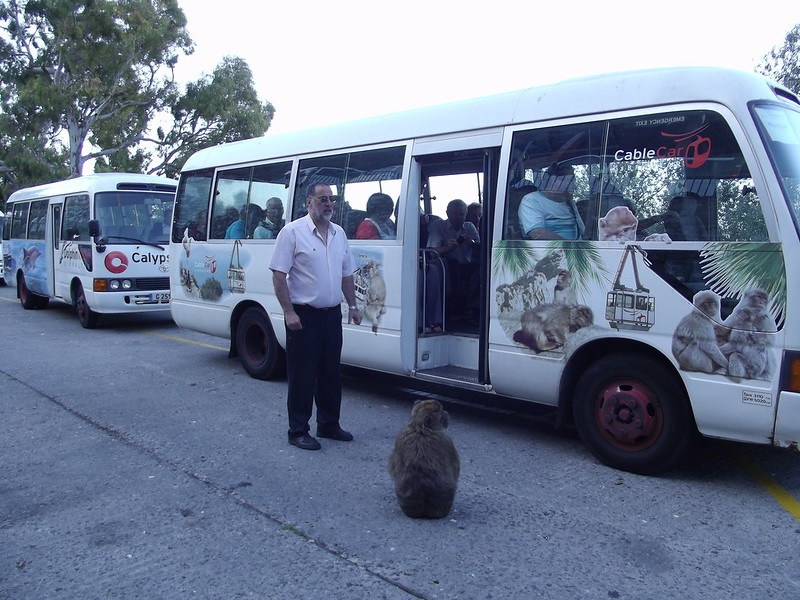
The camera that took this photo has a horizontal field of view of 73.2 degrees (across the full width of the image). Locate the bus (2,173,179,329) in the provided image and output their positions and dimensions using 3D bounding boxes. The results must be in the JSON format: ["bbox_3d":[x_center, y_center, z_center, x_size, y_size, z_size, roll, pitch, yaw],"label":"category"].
[{"bbox_3d":[-8.345,-1.441,14.756,2.802,3.597,10.331,-6,10,-44],"label":"bus"}]

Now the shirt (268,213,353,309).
[{"bbox_3d":[-0.833,-0.400,5.474,0.975,0.929,0.432,2,-3,-44],"label":"shirt"}]

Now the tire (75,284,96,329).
[{"bbox_3d":[-6.988,0.108,12.001,0.253,0.963,0.869,-3,-1,-36],"label":"tire"}]

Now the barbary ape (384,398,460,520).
[{"bbox_3d":[0.185,1.217,4.071,0.529,0.877,0.281,0,6,2],"label":"barbary ape"}]

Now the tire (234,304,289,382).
[{"bbox_3d":[-1.937,0.601,7.622,0.292,0.976,0.879,-4,14,-45],"label":"tire"}]

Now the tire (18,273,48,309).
[{"bbox_3d":[-10.185,-0.264,14.985,0.337,0.966,0.869,1,4,-43],"label":"tire"}]

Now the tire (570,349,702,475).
[{"bbox_3d":[2.113,1.000,4.963,0.928,1.127,0.430,-1,7,37],"label":"tire"}]
